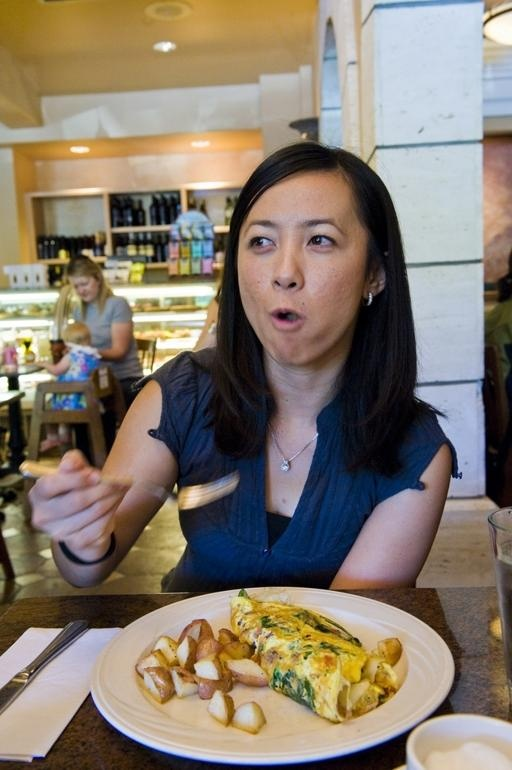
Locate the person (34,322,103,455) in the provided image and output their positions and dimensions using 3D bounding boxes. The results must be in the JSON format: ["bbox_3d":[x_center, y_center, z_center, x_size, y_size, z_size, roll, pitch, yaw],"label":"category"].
[{"bbox_3d":[-1.180,-0.012,3.872,0.369,0.797,0.338,13,14,30],"label":"person"}]

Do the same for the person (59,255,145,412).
[{"bbox_3d":[-1.068,-0.360,4.091,0.514,0.946,0.570,-11,17,-4],"label":"person"}]

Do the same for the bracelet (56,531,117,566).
[{"bbox_3d":[-0.227,0.229,0.855,0.086,0.037,0.046,-13,13,-40],"label":"bracelet"}]

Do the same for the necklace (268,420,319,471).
[{"bbox_3d":[0.049,0.107,1.054,0.073,0.071,0.020,7,-24,21],"label":"necklace"}]

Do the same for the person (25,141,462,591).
[{"bbox_3d":[0.023,0.022,1.038,0.667,0.844,0.464,-6,10,-6],"label":"person"}]

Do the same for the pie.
[{"bbox_3d":[0.051,0.269,0.637,0.123,0.054,0.194,-4,10,-24],"label":"pie"}]

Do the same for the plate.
[{"bbox_3d":[0.017,0.269,0.609,0.343,0.050,0.322,-3,10,10],"label":"plate"}]

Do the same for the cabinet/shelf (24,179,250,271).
[{"bbox_3d":[-1.238,-1.882,6.913,1.990,0.770,0.238,-3,-17,-4],"label":"cabinet/shelf"}]
